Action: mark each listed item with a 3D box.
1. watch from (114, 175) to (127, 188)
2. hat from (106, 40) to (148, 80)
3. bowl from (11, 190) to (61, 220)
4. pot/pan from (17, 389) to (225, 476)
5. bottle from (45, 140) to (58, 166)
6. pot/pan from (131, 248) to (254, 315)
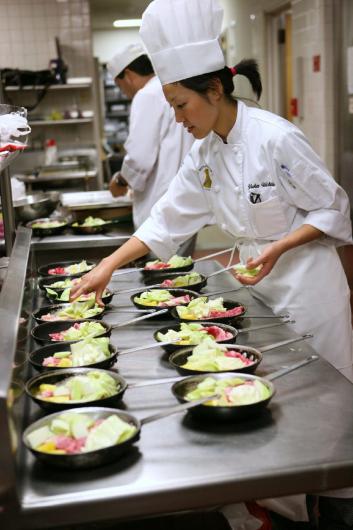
[{"bbox_3d":[-0.373,-0.551,2.985,0.073,0.019,0.068,34,0,-22],"label":"watch"},{"bbox_3d":[-0.346,-1.319,2.994,0.261,0.099,0.192,-20,18,49],"label":"hat"},{"bbox_3d":[-0.897,-0.370,2.878,0.282,0.060,0.263,-9,24,4],"label":"bowl"},{"bbox_3d":[-0.116,0.255,0.701,0.233,0.030,0.119,-7,9,-22],"label":"pot/pan"},{"bbox_3d":[-1.762,-1.554,6.282,0.152,0.340,0.354,-2,13,-12],"label":"bottle"},{"bbox_3d":[0.026,0.073,1.582,0.352,0.047,0.190,-18,27,-25],"label":"pot/pan"}]
